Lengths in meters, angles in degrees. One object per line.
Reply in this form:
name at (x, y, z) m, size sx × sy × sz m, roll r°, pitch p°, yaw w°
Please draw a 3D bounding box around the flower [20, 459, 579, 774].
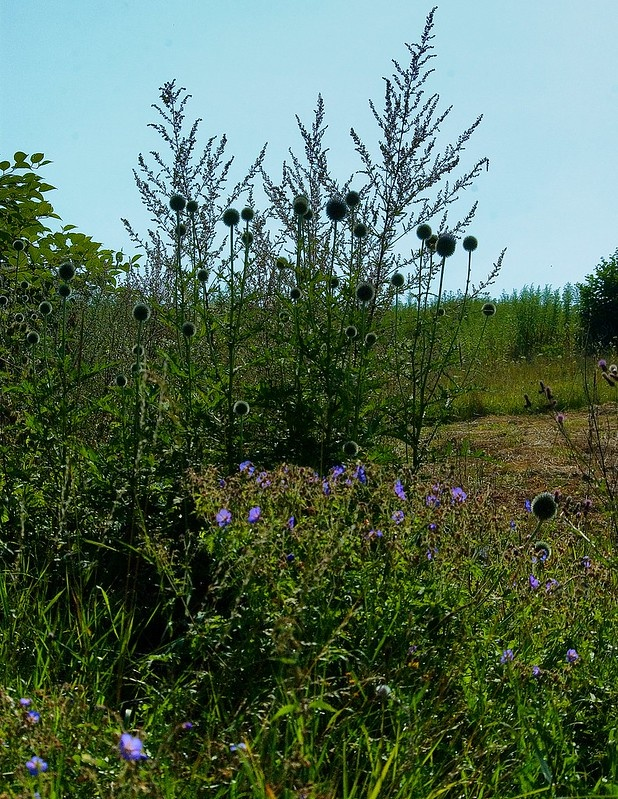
flower at (0.160, 0.678, 2.719) m, size 1.197 × 0.734 × 1.101 m, roll 5°, pitch 5°, yaw 39°
